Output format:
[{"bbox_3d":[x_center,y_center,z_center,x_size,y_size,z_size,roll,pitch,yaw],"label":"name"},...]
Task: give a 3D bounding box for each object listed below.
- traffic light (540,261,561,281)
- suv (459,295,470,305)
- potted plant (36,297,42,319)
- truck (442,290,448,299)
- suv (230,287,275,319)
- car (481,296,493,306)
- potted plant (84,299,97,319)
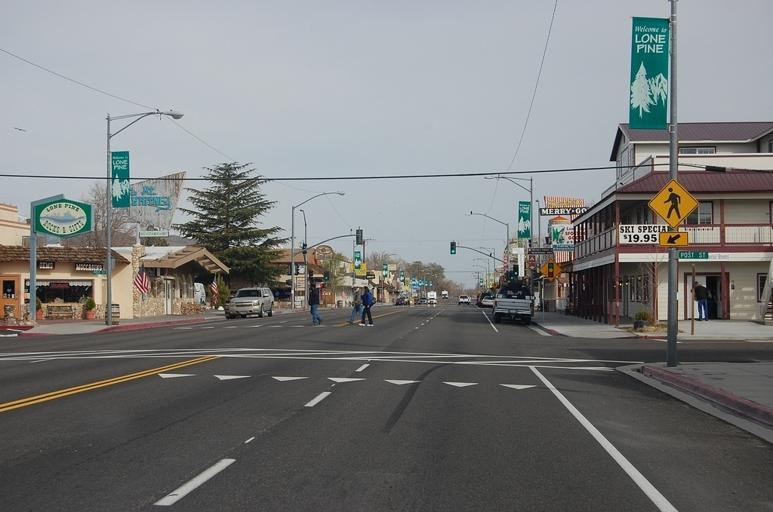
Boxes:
[{"bbox_3d":[9.857,0.912,43.631,0.913,1.141,1.179,0,0,6],"label":"traffic light"},{"bbox_3d":[12.781,7.218,118.784,1.428,1.347,4.066,0,-1,2],"label":"suv"},{"bbox_3d":[-22.259,3.350,46.606,0.297,1.358,0.796,0,0,-24],"label":"potted plant"},{"bbox_3d":[17.973,11.398,217.073,2.168,2.352,3.791,-1,-14,2],"label":"truck"},{"bbox_3d":[-10.132,3.460,53.114,2.755,2.210,5.198,0,-1,7],"label":"suv"},{"bbox_3d":[11.901,5.460,86.106,1.375,1.245,2.563,0,4,8],"label":"car"},{"bbox_3d":[-19.375,3.466,47.528,0.763,1.263,0.759,0,0,-30],"label":"potted plant"}]
